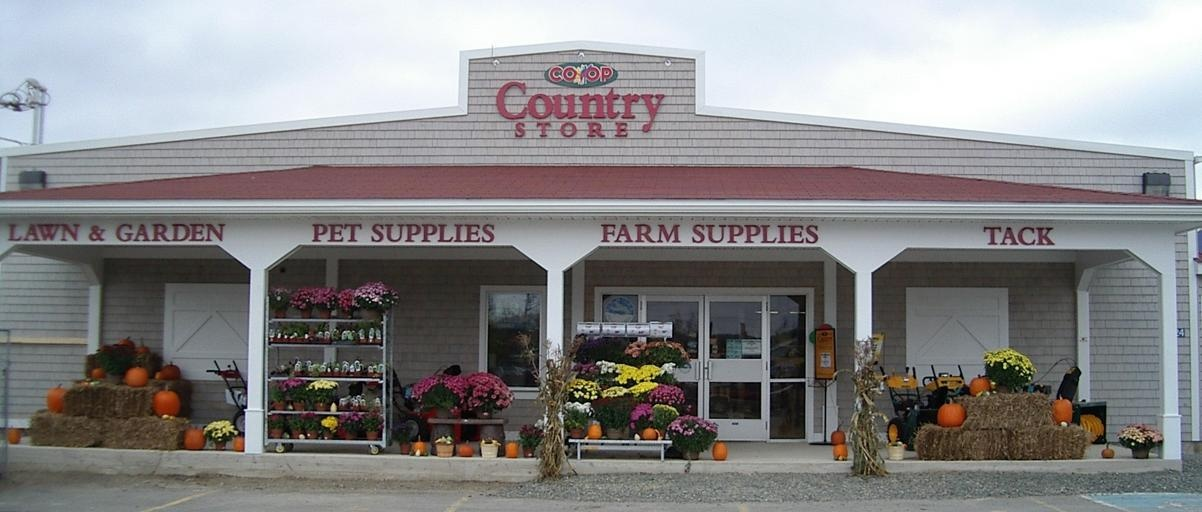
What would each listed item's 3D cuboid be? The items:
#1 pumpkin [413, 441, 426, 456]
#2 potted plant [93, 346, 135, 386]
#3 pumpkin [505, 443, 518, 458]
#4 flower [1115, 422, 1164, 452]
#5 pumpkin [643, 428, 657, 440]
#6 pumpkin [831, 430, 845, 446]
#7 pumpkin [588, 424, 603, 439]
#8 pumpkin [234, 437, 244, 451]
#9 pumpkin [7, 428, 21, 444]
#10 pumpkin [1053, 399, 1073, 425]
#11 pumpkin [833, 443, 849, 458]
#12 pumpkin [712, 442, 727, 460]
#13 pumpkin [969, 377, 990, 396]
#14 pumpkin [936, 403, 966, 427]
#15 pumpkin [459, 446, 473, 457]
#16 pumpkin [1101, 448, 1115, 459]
[{"bbox_3d":[-4.959,5.239,31.010,0.365,0.409,0.214,4,-12,-8],"label":"pumpkin"},{"bbox_3d":[-14.098,3.044,32.843,1.297,0.966,1.079,1,-7,-3],"label":"potted plant"},{"bbox_3d":[-2.417,5.283,31.124,0.453,0.300,0.389,1,4,-12],"label":"pumpkin"},{"bbox_3d":[14.869,4.933,31.093,1.059,0.615,0.385,-1,-12,15],"label":"flower"},{"bbox_3d":[1.370,4.799,30.878,0.364,0.249,0.336,2,-1,-35],"label":"pumpkin"},{"bbox_3d":[6.673,5.090,31.862,0.467,0.315,0.383,0,4,-3],"label":"pumpkin"},{"bbox_3d":[-0.133,4.740,30.982,0.466,0.325,0.410,4,4,14],"label":"pumpkin"},{"bbox_3d":[-9.963,5.162,31.330,0.388,0.287,0.332,-2,2,-13],"label":"pumpkin"},{"bbox_3d":[-16.534,5.022,31.863,0.339,0.423,0.575,7,-12,-23],"label":"pumpkin"},{"bbox_3d":[12.834,4.247,31.209,0.616,0.683,0.336,9,-13,-32],"label":"pumpkin"},{"bbox_3d":[6.607,5.346,31.084,0.383,0.414,0.374,0,-11,9],"label":"pumpkin"},{"bbox_3d":[3.341,5.328,31.143,0.499,0.476,0.297,6,-12,-20],"label":"pumpkin"},{"bbox_3d":[10.412,3.546,31.161,0.573,0.431,0.534,-1,3,-42],"label":"pumpkin"},{"bbox_3d":[9.623,4.319,31.067,0.727,0.535,0.726,3,1,38],"label":"pumpkin"},{"bbox_3d":[-3.677,5.288,31.038,0.357,0.239,0.321,-3,1,-30],"label":"pumpkin"},{"bbox_3d":[13.984,5.376,31.161,0.348,0.235,0.296,2,0,-8],"label":"pumpkin"}]
